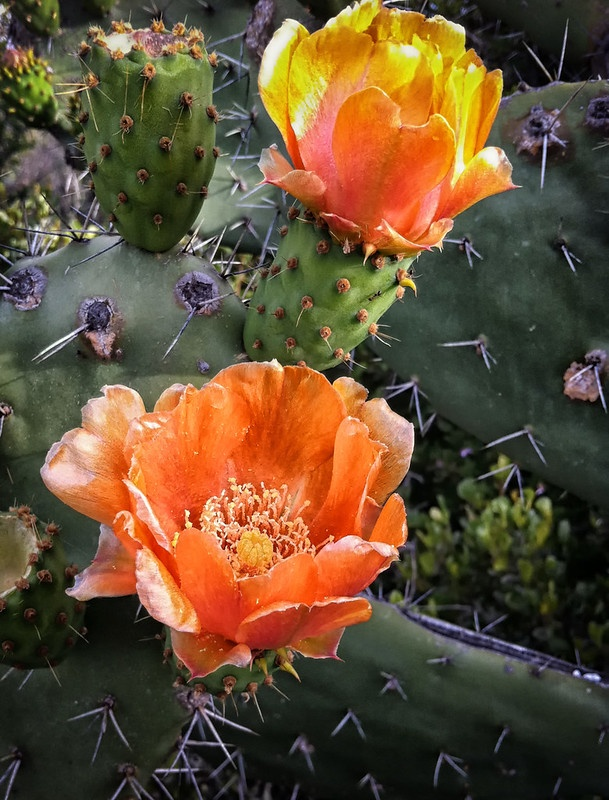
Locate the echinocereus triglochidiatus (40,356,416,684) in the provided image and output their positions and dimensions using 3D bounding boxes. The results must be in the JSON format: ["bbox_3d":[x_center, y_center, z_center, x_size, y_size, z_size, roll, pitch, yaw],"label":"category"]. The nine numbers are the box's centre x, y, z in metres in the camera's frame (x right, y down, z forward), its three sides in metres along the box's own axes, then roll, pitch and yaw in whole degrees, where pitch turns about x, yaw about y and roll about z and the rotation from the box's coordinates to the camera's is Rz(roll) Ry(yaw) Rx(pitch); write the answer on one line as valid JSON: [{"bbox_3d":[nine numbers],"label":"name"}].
[{"bbox_3d":[-0.056,0.111,0.673,0.308,0.225,0.248,-1,49,0],"label":"echinocereus triglochidiatus"}]
